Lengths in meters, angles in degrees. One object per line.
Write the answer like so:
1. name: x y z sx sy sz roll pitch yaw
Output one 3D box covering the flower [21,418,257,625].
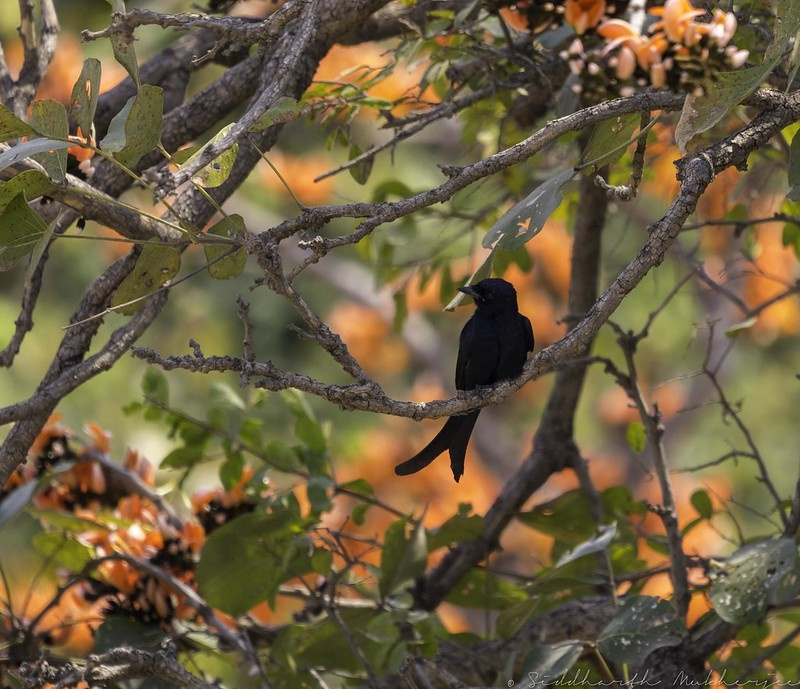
1. flower: -0.854 0.441 3.460 0.379 0.873 0.322 -22 -49 -37
